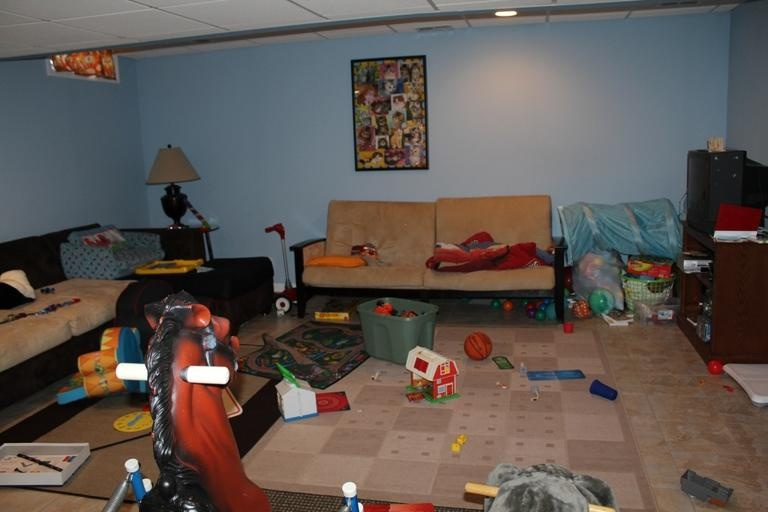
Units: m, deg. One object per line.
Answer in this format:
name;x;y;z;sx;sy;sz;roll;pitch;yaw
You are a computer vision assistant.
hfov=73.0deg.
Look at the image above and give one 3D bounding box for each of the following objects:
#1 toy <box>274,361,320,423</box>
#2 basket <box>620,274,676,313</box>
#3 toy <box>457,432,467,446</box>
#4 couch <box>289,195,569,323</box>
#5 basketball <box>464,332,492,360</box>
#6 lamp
toy;-0.647;1.022;3.850;0.242;0.387;0.333;-13;15;-28
basket;2.667;0.395;5.205;0.499;0.369;0.491;9;-6;-43
toy;0.507;1.192;3.387;0.053;0.049;0.053;0;5;27
couch;0.492;-0.020;5.476;2.720;1.162;1.015;0;10;12
basketball;0.803;0.765;4.403;0.237;0.221;0.173;-6;15;0
lamp;-2.473;-0.824;6.121;0.541;0.933;0.732;-12;16;-22
